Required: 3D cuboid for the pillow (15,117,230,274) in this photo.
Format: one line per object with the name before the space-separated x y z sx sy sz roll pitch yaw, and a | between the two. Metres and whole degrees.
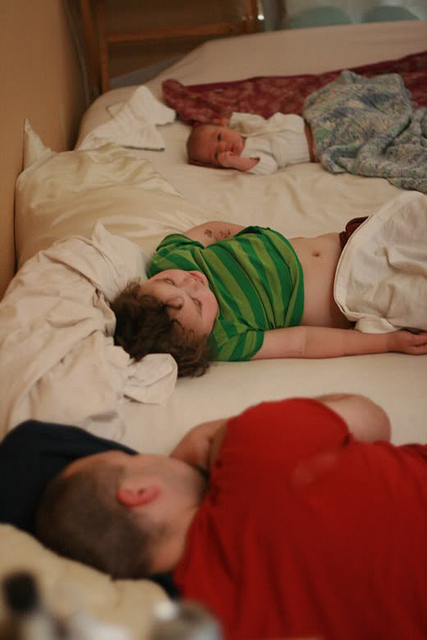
pillow | -0.263 -0.284 1.600 0.530 0.150 0.449 2 42 -22
